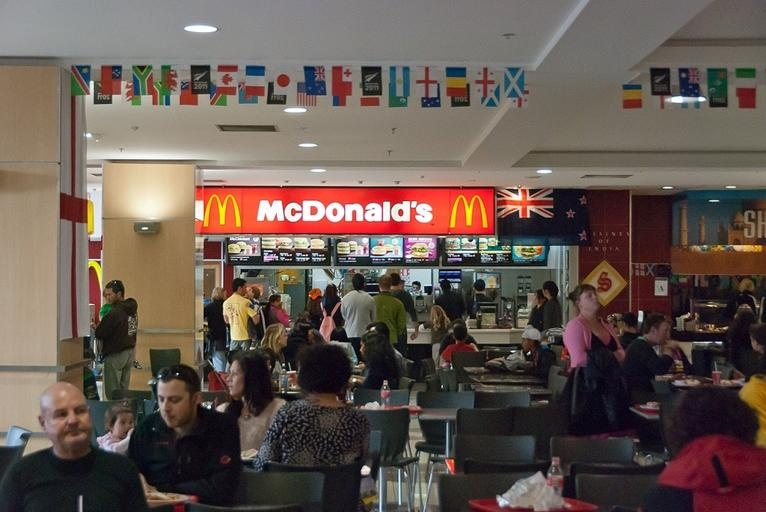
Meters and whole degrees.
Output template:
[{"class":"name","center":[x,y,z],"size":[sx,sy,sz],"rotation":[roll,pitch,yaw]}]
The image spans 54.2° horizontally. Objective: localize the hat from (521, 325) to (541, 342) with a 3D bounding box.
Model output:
[{"class":"hat","center":[1.908,0.986,9.641],"size":[0.253,0.132,0.194],"rotation":[13,3,8]}]
